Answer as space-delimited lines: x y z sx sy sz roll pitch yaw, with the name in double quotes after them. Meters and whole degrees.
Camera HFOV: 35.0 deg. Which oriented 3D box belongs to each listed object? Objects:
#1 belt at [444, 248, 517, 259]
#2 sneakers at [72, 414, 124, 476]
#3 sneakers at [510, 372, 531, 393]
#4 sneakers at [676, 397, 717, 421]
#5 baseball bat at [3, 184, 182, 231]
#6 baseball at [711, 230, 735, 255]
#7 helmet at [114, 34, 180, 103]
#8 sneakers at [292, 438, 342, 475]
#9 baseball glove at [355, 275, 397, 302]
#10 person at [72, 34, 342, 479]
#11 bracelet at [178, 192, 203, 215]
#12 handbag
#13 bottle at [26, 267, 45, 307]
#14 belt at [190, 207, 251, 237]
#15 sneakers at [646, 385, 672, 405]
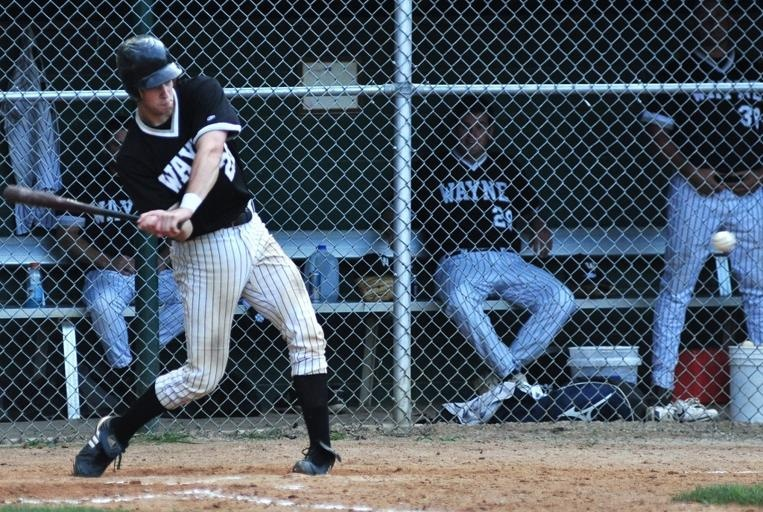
0.711 -0.030 8.369 0.578 0.060 0.143 -2 3 -27 "belt"
-1.617 1.082 6.867 0.190 0.314 0.267 28 2 -3 "sneakers"
0.925 0.843 7.996 0.099 0.124 0.045 -33 -12 -33 "sneakers"
2.088 1.013 8.030 0.293 0.140 0.117 -1 2 3 "sneakers"
-1.739 -0.303 7.337 1.124 0.129 0.125 13 -26 -38 "baseball bat"
2.195 -0.100 7.700 0.140 0.114 0.138 -12 9 -31 "baseball"
-1.238 -0.992 6.347 0.270 0.187 0.356 -42 34 -21 "helmet"
-0.340 1.121 6.684 0.125 0.141 0.329 1 -10 30 "sneakers"
-0.037 0.219 8.285 0.240 0.171 0.453 -1 3 -2 "baseball glove"
-0.939 0.011 6.564 1.380 2.385 0.553 -2 2 -14 "person"
-0.989 -0.284 6.316 0.100 0.108 0.099 22 -21 31 "bracelet"
1.391 0.911 8.023 0.580 0.210 0.339 -2 -3 4 "handbag"
-2.382 0.201 8.264 0.132 0.270 0.462 -2 3 -15 "bottle"
-0.855 -0.171 6.465 0.229 0.066 0.169 -19 6 -4 "belt"
1.890 0.938 8.216 0.174 0.167 0.126 -4 -1 28 "sneakers"
